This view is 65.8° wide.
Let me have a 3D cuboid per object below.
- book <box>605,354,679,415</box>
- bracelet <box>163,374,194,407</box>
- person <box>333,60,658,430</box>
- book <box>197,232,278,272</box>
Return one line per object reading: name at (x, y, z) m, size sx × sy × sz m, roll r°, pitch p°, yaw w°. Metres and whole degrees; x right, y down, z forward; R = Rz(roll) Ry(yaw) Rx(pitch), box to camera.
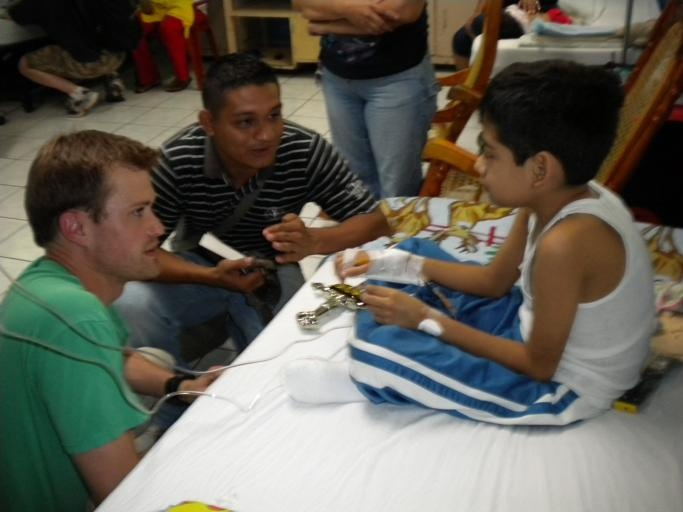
book at (0.707, 0.300, 1.248) m, size 0.264 × 0.043 × 0.074 m, roll -29°, pitch 34°, yaw -33°
bracelet at (-0.381, 0.314, 1.209) m, size 0.036 × 0.099 × 0.067 m, roll 1°, pitch 73°, yaw -35°
person at (0.307, -0.012, 1.335) m, size 0.811 × 0.796 × 0.655 m, roll 12°, pitch 19°, yaw 42°
book at (-0.304, 0.004, 1.415) m, size 0.127 × 0.028 × 0.125 m, roll 22°, pitch 1°, yaw 12°
